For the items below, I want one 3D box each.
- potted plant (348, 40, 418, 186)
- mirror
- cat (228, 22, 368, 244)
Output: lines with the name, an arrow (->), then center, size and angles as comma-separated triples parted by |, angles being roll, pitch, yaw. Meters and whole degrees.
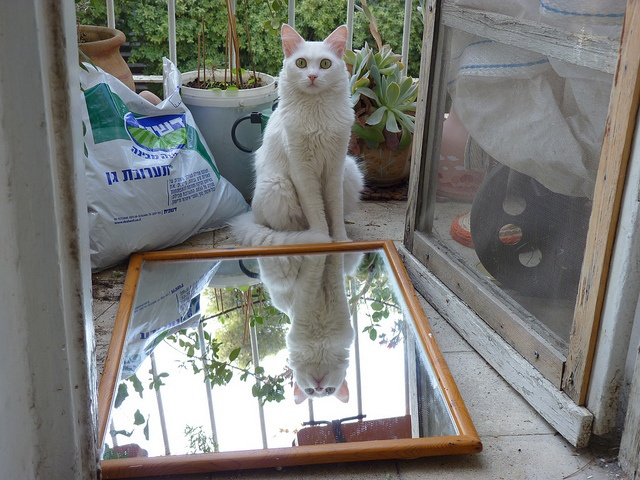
potted plant -> 0.300, -0.582, 2.715 | 0.439, 0.631, 0.544 | 0, -2, -5
mirror -> -0.130, 0.274, 1.593 | 0.904, 0.333, 0.884 | -6, 15, -8
cat -> -0.113, -0.387, 2.097 | 0.489, 0.818, 0.356 | -3, 13, 2
